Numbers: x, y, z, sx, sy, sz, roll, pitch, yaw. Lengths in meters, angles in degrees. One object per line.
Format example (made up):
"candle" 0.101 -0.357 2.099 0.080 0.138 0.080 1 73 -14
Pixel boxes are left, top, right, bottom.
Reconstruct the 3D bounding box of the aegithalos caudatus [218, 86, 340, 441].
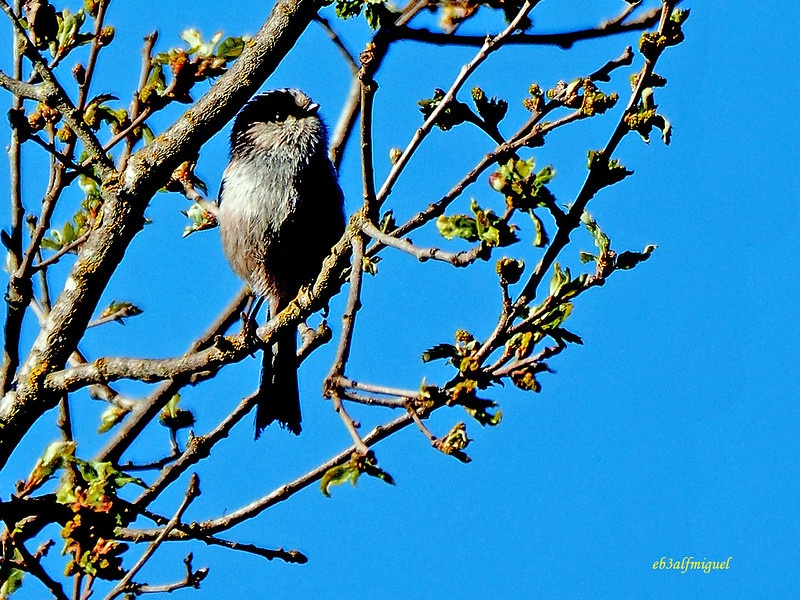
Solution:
"aegithalos caudatus" -0.707 -0.553 7.799 0.687 1.065 2.602 2 -71 -6
